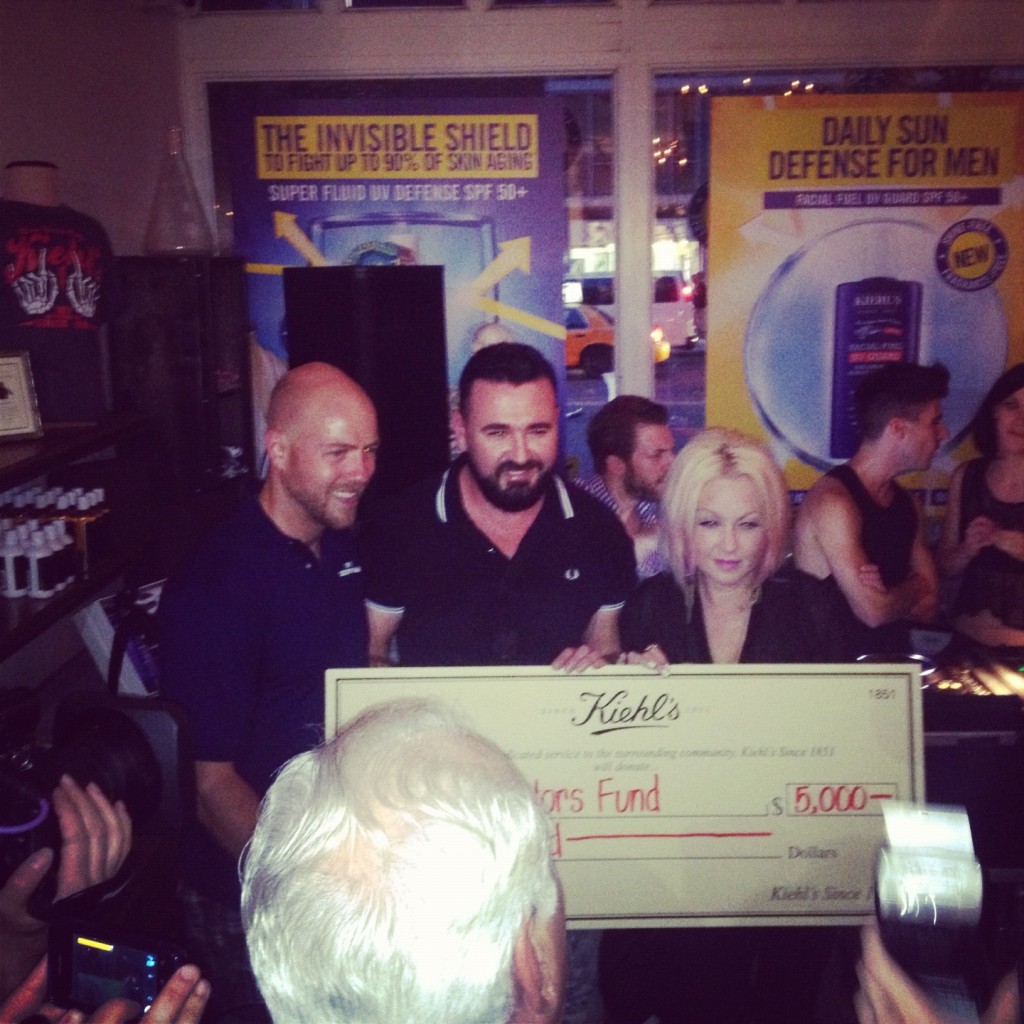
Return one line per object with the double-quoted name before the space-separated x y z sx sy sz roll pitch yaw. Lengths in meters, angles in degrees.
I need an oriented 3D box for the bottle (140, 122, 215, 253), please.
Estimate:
"bottle" -1.107 -1.059 3.501 0.225 0.408 0.186 -4 11 -17
